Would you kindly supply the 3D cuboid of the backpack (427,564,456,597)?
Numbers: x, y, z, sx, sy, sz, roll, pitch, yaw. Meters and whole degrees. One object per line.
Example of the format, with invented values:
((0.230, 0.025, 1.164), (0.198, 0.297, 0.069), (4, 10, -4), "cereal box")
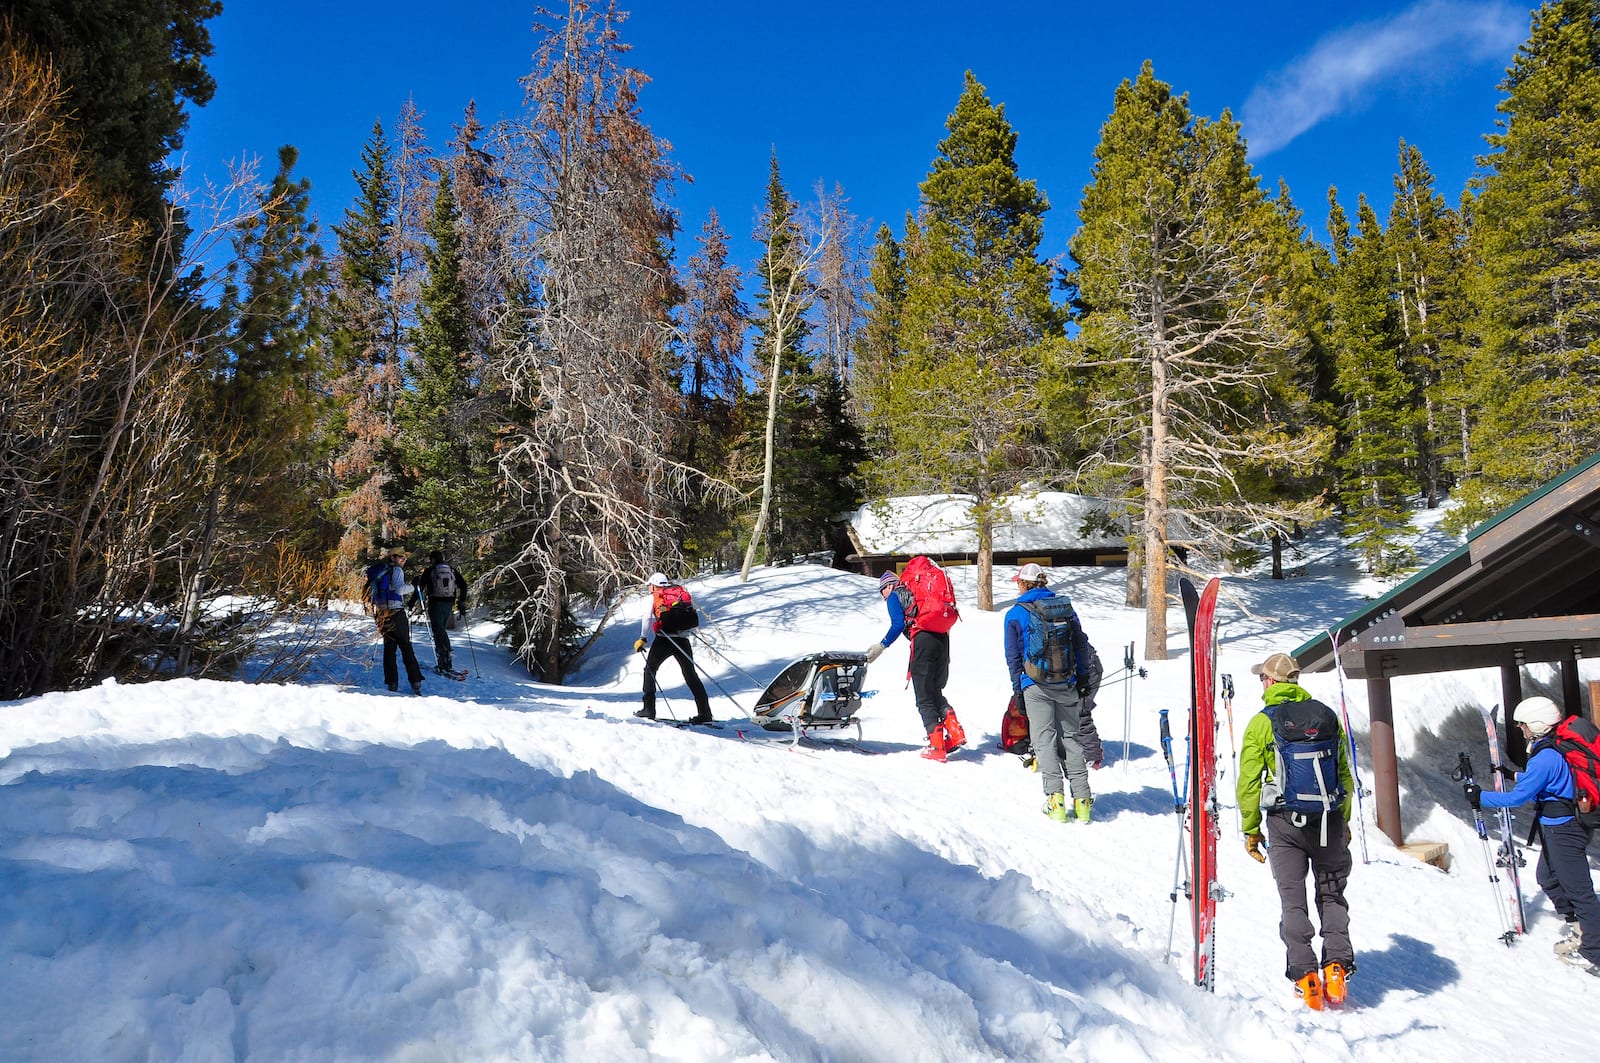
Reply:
((-6.724, 0.908, 23.710), (0.603, 0.855, 0.468), (1, 2, -16), "backpack")

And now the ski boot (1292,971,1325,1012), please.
((6.226, 5.616, 15.273), (0.343, 0.443, 0.115), (-3, -8, 20), "ski boot")

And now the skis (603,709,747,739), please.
((-1.967, 3.009, 19.529), (1.375, 0.079, 0.230), (14, 12, 4), "skis")

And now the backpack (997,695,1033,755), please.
((3.335, 2.988, 19.198), (0.357, 0.878, 0.551), (1, -8, -4), "backpack")

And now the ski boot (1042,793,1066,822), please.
((3.571, 3.870, 17.537), (0.281, 0.366, 0.103), (-2, -8, 12), "ski boot")

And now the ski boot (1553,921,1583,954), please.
((10.489, 5.562, 17.067), (0.348, 0.370, 0.425), (-5, -10, 31), "ski boot")

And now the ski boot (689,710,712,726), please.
((-1.625, 3.022, 20.328), (0.466, 0.199, 0.206), (-9, -12, 44), "ski boot")

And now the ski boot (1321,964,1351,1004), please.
((6.531, 5.499, 15.256), (0.265, 0.504, 0.195), (3, 0, 4), "ski boot")

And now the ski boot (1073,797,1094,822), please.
((3.948, 3.882, 17.485), (0.169, 0.284, 0.112), (0, -8, 3), "ski boot")
